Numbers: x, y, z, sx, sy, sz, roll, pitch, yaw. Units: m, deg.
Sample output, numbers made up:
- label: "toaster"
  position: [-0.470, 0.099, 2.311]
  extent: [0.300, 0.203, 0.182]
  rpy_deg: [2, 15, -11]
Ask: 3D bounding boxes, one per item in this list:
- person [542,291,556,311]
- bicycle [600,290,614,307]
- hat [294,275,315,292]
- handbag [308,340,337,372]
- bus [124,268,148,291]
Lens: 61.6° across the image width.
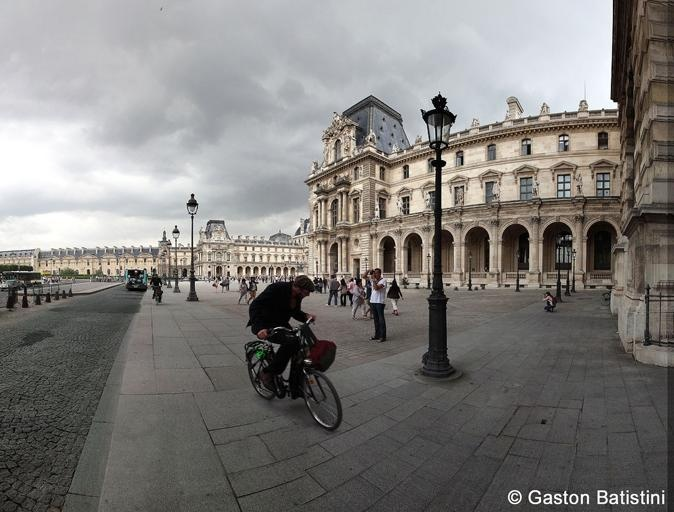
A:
- label: "person"
  position: [7.789, 1.668, 20.515]
  extent: [0.370, 0.706, 1.104]
  rpy_deg: [1, 3, 20]
- label: "bicycle"
  position: [11.742, 1.851, 24.400]
  extent: [0.219, 0.848, 0.903]
  rpy_deg: [22, 7, 5]
- label: "hat"
  position: [-0.565, 0.504, 10.127]
  extent: [0.358, 0.314, 0.462]
  rpy_deg: [0, 3, -4]
- label: "handbag"
  position: [-0.190, 1.701, 10.040]
  extent: [0.461, 0.620, 0.639]
  rpy_deg: [-3, 3, 10]
- label: "bus"
  position: [-15.927, 1.942, 45.262]
  extent: [1.363, 1.270, 3.431]
  rpy_deg: [0, -3, -14]
